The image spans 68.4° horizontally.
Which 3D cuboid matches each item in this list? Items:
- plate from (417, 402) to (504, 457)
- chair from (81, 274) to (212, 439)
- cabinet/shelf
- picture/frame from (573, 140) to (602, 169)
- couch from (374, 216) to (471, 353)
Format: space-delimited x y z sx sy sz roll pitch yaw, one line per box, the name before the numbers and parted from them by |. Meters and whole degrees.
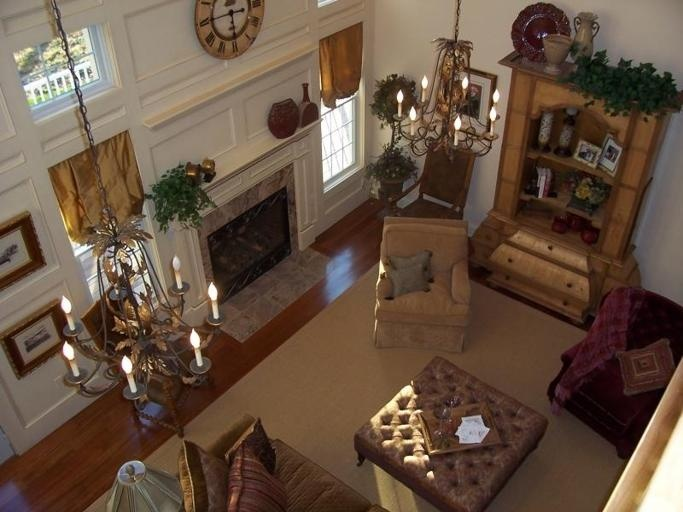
plate | 1.171 1.722 5.089 0.735 0.211 0.487 -3 33 -3
chair | -1.969 1.090 4.960 0.853 1.438 0.913 28 53 17
cabinet/shelf | 3.011 -0.879 6.301 2.134 3.207 1.175 28 51 27
picture/frame | 3.090 -1.286 6.313 0.279 0.273 0.039 34 41 28
couch | 1.155 0.417 6.897 1.149 1.495 1.734 3 67 8
